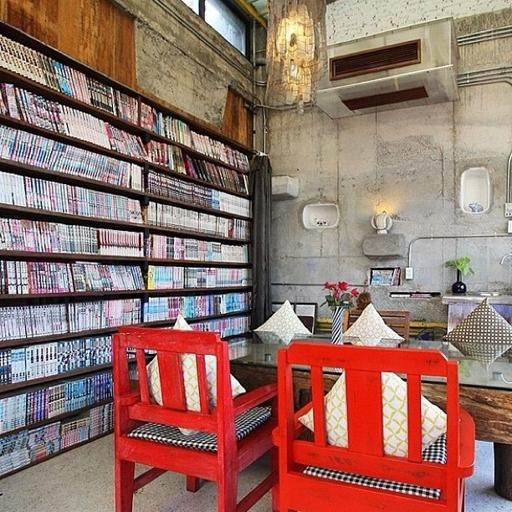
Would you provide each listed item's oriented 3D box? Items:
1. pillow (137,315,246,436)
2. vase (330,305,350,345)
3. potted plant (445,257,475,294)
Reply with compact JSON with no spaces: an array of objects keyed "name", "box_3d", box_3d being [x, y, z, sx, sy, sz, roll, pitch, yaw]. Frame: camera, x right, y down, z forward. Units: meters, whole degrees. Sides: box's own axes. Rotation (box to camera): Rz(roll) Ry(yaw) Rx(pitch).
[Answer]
[{"name":"pillow","box_3d":[-0.252,0.480,1.783,0.293,0.445,0.447,-3,0,-41]},{"name":"vase","box_3d":[0.463,0.380,2.576,0.108,0.316,0.102,-4,43,8]},{"name":"potted plant","box_3d":[2.190,0.201,4.809,0.236,0.407,0.214,1,2,38]}]
